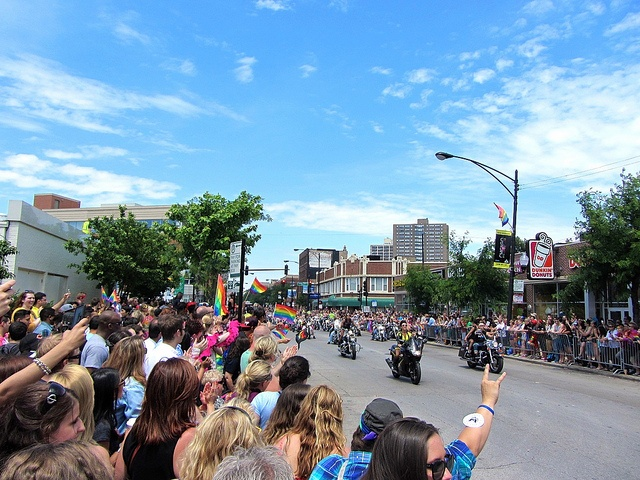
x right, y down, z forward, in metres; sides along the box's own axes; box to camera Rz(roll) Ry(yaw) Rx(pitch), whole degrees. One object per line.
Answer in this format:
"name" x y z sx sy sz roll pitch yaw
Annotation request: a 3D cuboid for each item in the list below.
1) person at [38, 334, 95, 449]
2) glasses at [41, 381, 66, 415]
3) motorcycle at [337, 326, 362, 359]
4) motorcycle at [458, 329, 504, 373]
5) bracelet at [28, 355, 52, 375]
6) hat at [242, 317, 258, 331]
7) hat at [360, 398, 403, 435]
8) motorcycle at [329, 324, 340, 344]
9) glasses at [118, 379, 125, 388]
"person" -1.952 1.172 3.263 0.293 0.919 0.299 -27 -30 12
"glasses" -1.679 0.986 2.525 0.114 0.152 0.056 24 -17 -27
"motorcycle" 1.383 4.960 19.572 0.823 1.341 1.167 3 -9 0
"motorcycle" 6.441 4.316 16.064 1.490 1.534 2.707 12 -15 -5
"bracelet" -1.951 0.864 2.826 0.092 0.043 0.117 -1 -47 48
"hat" -1.343 1.588 7.662 0.205 0.173 0.312 3 18 23
"hat" 0.427 1.220 2.893 0.285 0.153 0.219 0 7 -39
"motorcycle" 0.880 6.121 26.432 0.829 0.843 1.321 8 -19 -9
"glasses" -2.130 1.498 4.316 0.076 0.105 0.040 -1 -6 -24
